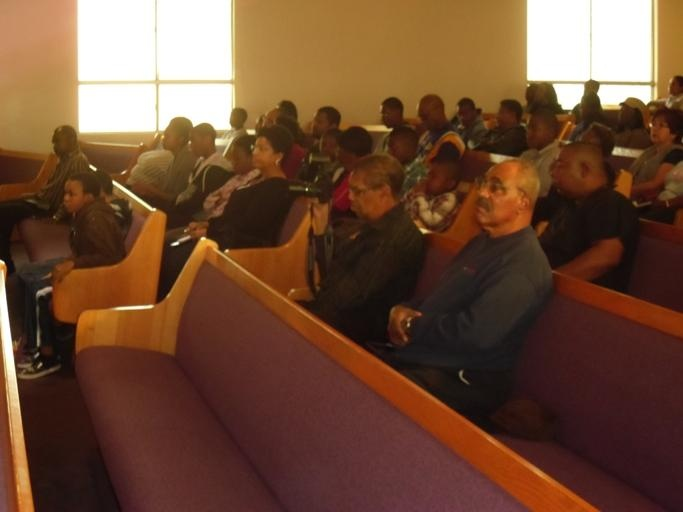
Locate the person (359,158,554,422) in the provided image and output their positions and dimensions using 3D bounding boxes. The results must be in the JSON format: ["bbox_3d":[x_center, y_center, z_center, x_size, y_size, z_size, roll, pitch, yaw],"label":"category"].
[{"bbox_3d":[0.447,0.175,2.177,0.591,1.139,0.534,6,13,-26],"label":"person"}]

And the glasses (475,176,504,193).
[{"bbox_3d":[0.577,-0.273,2.141,0.076,0.031,0.075,24,-8,-28],"label":"glasses"}]

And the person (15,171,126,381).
[{"bbox_3d":[-1.733,0.080,3.601,0.594,1.239,0.475,-1,13,-35],"label":"person"}]

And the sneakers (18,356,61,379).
[{"bbox_3d":[-1.765,0.654,3.289,0.182,0.089,0.094,4,-3,-43],"label":"sneakers"}]
